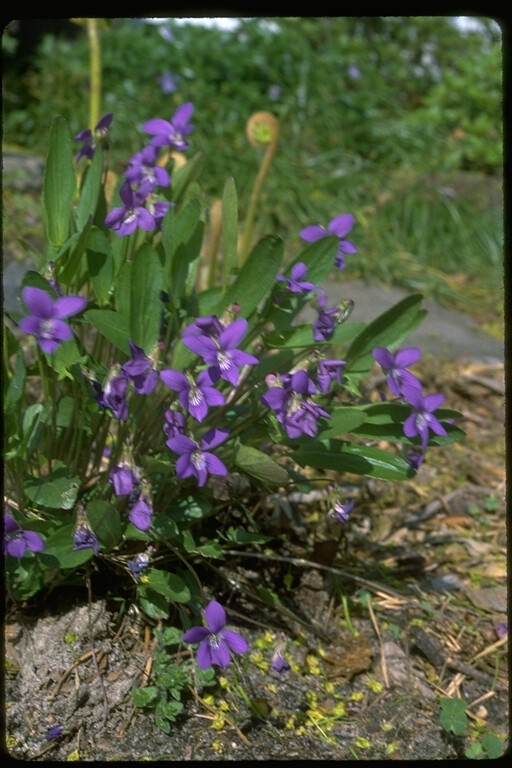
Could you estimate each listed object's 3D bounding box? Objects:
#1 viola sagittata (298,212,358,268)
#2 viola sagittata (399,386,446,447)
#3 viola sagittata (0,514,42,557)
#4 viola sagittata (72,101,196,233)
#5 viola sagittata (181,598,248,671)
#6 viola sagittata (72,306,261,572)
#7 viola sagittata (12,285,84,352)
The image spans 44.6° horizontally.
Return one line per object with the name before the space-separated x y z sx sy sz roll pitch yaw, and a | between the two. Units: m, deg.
viola sagittata | 0.159 -0.344 1.438 0.145 0.039 0.150 6 30 -5
viola sagittata | 0.326 0.066 1.253 0.117 0.117 0.036 40 -24 -28
viola sagittata | -0.457 0.290 1.206 0.092 0.082 0.048 21 25 30
viola sagittata | -0.270 -0.465 1.357 0.244 0.300 0.320 5 21 -8
viola sagittata | -0.073 0.477 1.176 0.098 0.139 0.099 15 22 17
viola sagittata | -0.184 0.109 1.180 0.293 0.504 0.239 2 22 -15
viola sagittata | -0.358 -0.107 1.118 0.104 0.147 0.184 5 21 -8
